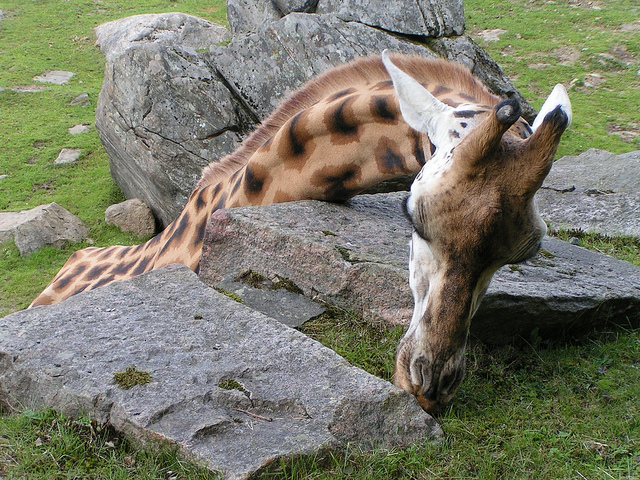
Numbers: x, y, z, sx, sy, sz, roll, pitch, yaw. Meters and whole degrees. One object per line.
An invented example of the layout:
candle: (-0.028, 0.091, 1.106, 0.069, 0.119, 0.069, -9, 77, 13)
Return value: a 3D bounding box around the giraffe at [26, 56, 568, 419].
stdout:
giraffe: (-0.340, -0.179, 5.832, 1.219, 2.589, 4.851, 22, 0, -31)
